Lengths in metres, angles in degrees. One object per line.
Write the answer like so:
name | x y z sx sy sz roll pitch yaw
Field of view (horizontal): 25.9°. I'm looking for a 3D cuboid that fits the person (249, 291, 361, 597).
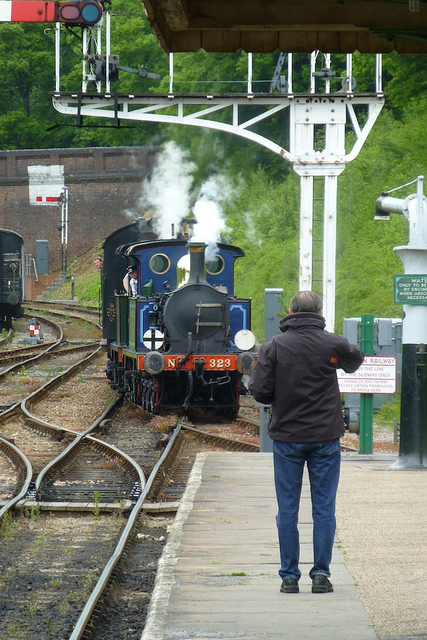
person | 0.529 0.644 4.902 0.575 1.592 0.286 -7 0 -8
